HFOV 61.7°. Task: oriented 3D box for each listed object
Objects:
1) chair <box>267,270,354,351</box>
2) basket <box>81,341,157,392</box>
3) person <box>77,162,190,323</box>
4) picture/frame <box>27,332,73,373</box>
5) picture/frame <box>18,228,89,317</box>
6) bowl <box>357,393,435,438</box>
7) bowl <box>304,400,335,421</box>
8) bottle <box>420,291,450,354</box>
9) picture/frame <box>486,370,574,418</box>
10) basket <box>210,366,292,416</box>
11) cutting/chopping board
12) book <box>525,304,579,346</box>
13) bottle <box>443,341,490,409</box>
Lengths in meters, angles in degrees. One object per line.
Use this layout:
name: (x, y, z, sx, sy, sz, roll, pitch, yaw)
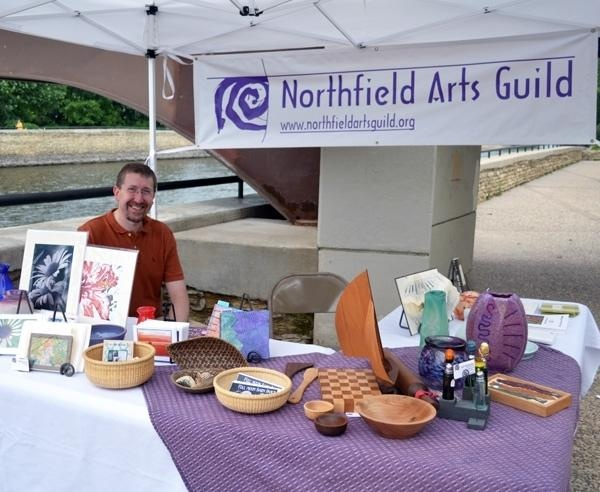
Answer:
chair: (0.052, 0.356, 2.984, 0.333, 0.550, 0.383, 0, -2, 0)
basket: (-0.605, 0.415, 1.722, 0.219, 0.094, 0.232, 3, 3, 26)
person: (-0.893, -0.013, 2.851, 0.435, 1.159, 0.449, -1, 3, -18)
picture/frame: (-0.883, 0.377, 1.785, 0.149, 0.129, 0.012, 4, 2, 2)
picture/frame: (-1.016, 0.124, 2.096, 0.350, 0.452, 0.022, 0, -12, 11)
bowl: (0.266, 0.481, 1.419, 0.187, 0.072, 0.206, -8, 14, -34)
bowl: (0.056, 0.484, 1.493, 0.053, 0.025, 0.054, 2, 9, 0)
bottle: (0.513, 0.304, 1.988, 0.105, 0.236, 0.117, 10, 16, 18)
picture/frame: (0.754, 0.463, 1.645, 0.222, 0.067, 0.184, 15, 12, 43)
basket: (-0.144, 0.454, 1.562, 0.241, 0.086, 0.198, 5, 13, 22)
cutting/chopping board: (0.149, 0.440, 1.654, 0.216, 0.073, 0.213, 10, 14, 21)
book: (1.184, 0.326, 2.406, 0.286, 0.157, 0.284, 8, 13, 22)
bottle: (0.504, 0.385, 1.542, 0.124, 0.192, 0.112, 8, 11, 42)
